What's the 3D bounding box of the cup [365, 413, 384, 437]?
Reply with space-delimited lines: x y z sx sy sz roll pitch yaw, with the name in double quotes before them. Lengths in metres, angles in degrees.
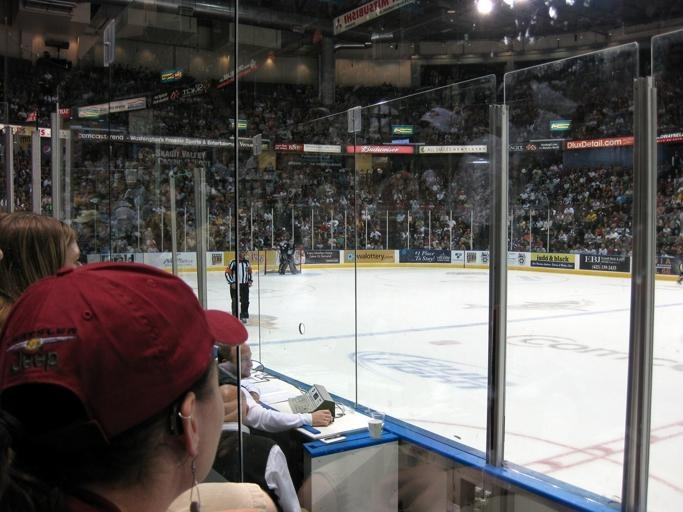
"cup" 0.173 0.875 3.322 0.059 0.098 0.095 -2 -8 27
